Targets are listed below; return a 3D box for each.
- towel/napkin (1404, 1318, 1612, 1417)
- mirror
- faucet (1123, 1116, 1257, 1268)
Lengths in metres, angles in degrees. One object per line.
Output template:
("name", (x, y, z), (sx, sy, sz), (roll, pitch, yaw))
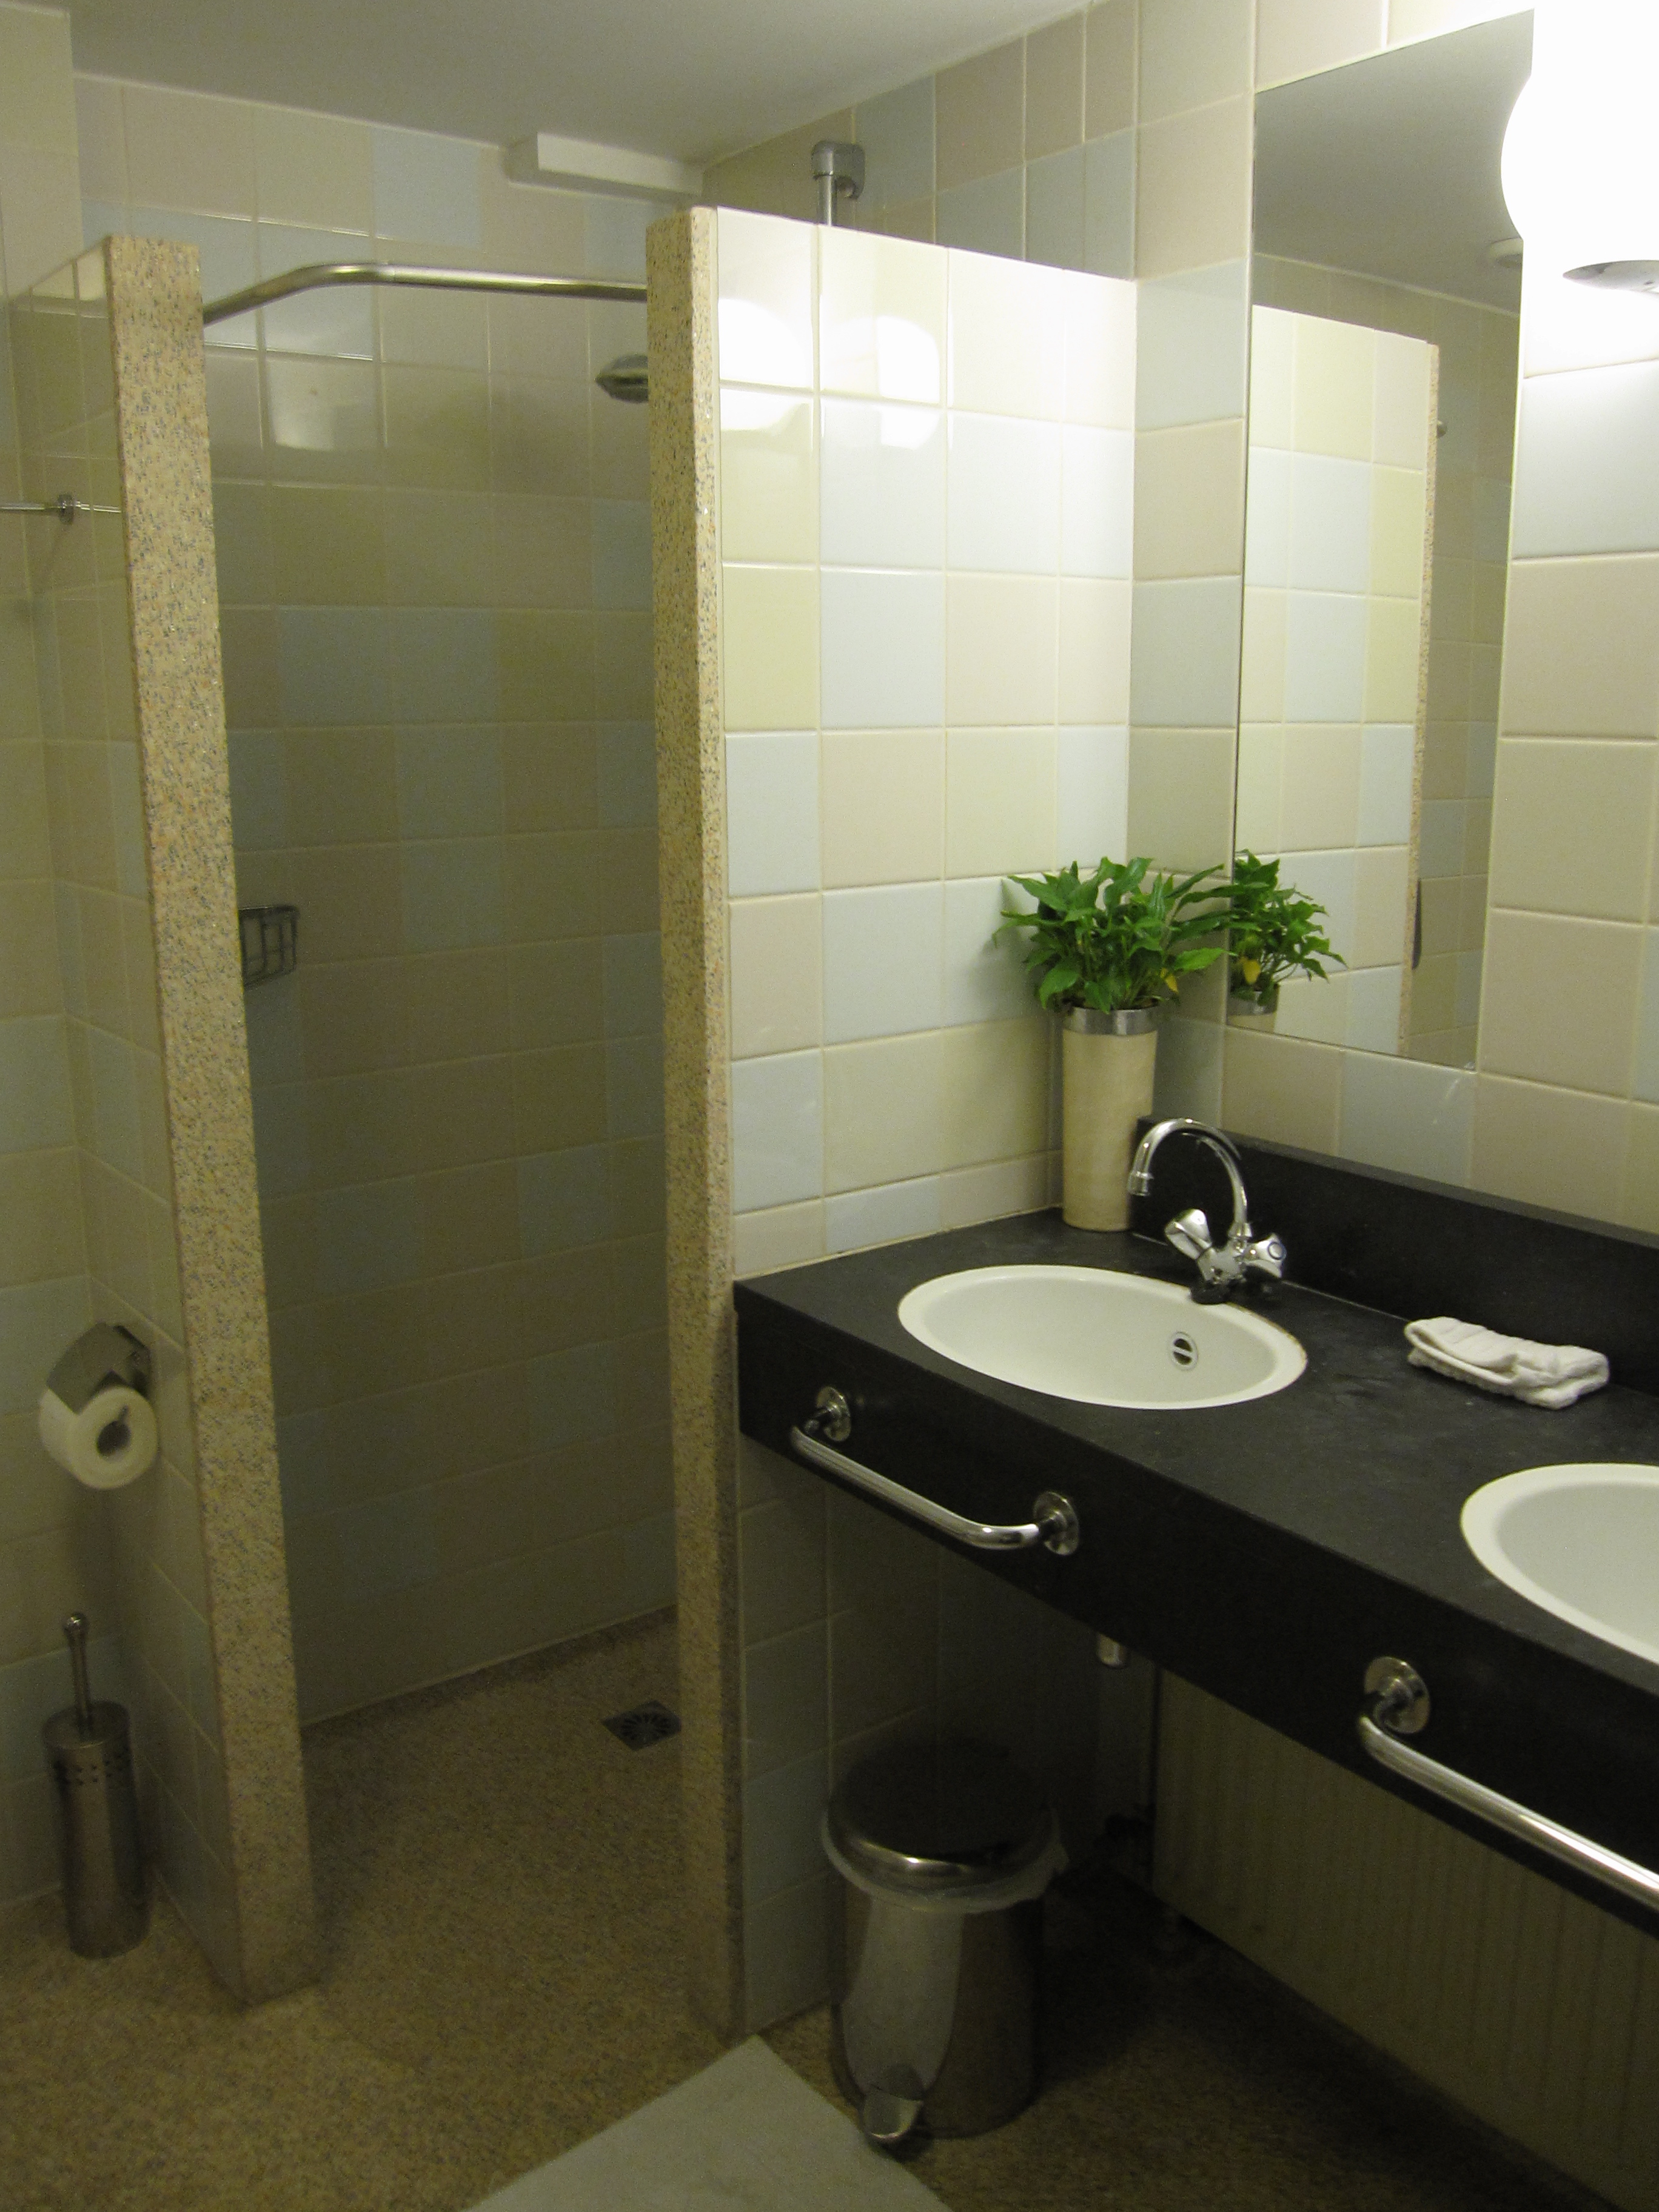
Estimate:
("towel/napkin", (0.591, 0.222, 1.552), (0.169, 0.041, 0.112), (7, 12, 38))
("mirror", (0.525, -0.517, 1.697), (0.059, 0.940, 0.319), (-6, 10, -28))
("faucet", (0.377, 0.076, 1.837), (0.130, 0.169, 0.315), (1, 10, 10))
